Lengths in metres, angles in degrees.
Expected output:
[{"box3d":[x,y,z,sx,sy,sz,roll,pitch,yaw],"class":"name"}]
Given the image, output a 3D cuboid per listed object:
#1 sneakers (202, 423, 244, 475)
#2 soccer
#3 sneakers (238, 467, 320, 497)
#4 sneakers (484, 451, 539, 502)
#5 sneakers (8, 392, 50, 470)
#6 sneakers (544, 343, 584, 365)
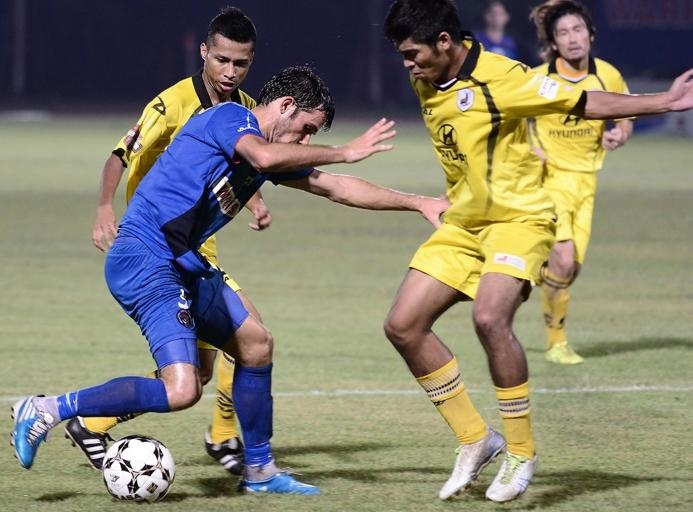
[{"box3d":[-0.687,1.088,6.182,0.314,0.133,0.115,43,11,24],"class":"sneakers"},{"box3d":[-1.067,1.097,5.687,0.398,0.314,0.339,1,-8,6],"class":"soccer"},{"box3d":[-0.374,1.219,5.903,0.469,0.123,0.141,0,-8,1],"class":"sneakers"},{"box3d":[0.865,1.159,5.767,0.141,0.153,0.368,17,41,35],"class":"sneakers"},{"box3d":[-1.612,0.898,5.690,0.242,0.398,0.148,-8,-15,5],"class":"sneakers"},{"box3d":[1.582,0.707,8.013,0.148,0.097,0.252,-1,0,-34],"class":"sneakers"}]
